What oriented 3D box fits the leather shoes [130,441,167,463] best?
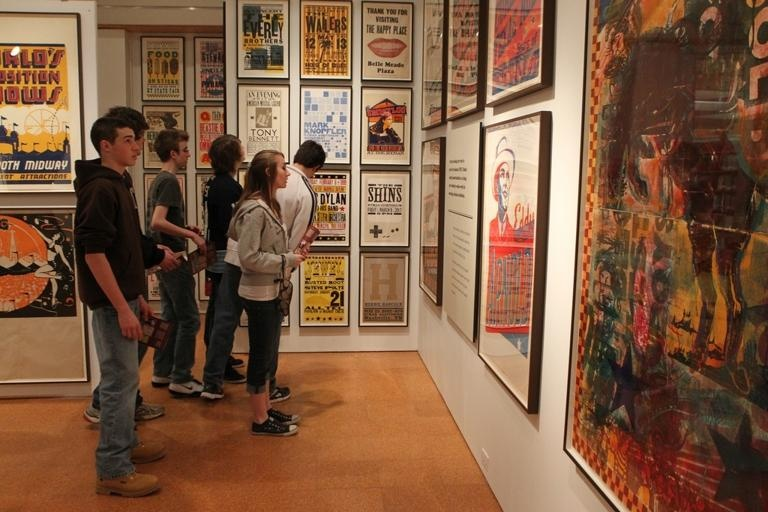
[{"bbox_3d":[-1.522,1.272,3.846,0.200,0.099,0.100,-5,19,-18],"label":"leather shoes"}]

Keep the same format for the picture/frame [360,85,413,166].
[{"bbox_3d":[0.010,-1.272,5.633,0.664,1.064,0.021,0,10,-3],"label":"picture/frame"}]

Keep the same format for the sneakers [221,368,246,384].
[{"bbox_3d":[-1.283,1.029,5.125,0.216,0.170,0.086,3,7,-8],"label":"sneakers"}]

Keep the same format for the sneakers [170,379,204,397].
[{"bbox_3d":[-1.582,1.044,4.840,0.297,0.148,0.122,-1,9,-28],"label":"sneakers"}]

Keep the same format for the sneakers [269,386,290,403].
[{"bbox_3d":[-0.833,1.101,4.760,0.071,0.076,0.178,10,12,28],"label":"sneakers"}]

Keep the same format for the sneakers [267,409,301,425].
[{"bbox_3d":[-0.729,1.168,4.360,0.260,0.114,0.096,8,4,-9],"label":"sneakers"}]

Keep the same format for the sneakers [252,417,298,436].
[{"bbox_3d":[-0.761,1.208,4.208,0.327,0.146,0.133,0,3,-9],"label":"sneakers"}]

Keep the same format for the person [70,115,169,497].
[{"bbox_3d":[-1.581,0.293,3.541,0.398,2.188,0.583,-5,12,-26],"label":"person"}]

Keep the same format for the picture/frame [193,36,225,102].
[{"bbox_3d":[-2.006,-2.134,6.797,0.306,0.701,0.115,1,11,5],"label":"picture/frame"}]

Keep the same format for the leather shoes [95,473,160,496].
[{"bbox_3d":[-1.524,1.329,3.579,0.331,0.176,0.150,1,8,-6],"label":"leather shoes"}]

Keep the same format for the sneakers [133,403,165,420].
[{"bbox_3d":[-1.737,1.161,4.403,0.206,0.101,0.081,-5,15,-34],"label":"sneakers"}]

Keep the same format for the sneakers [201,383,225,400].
[{"bbox_3d":[-1.357,1.077,4.737,0.082,0.107,0.221,3,4,7],"label":"sneakers"}]

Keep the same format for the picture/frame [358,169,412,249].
[{"bbox_3d":[-0.002,-0.489,5.721,0.666,1.060,0.044,1,11,0],"label":"picture/frame"}]

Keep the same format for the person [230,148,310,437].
[{"bbox_3d":[-0.760,0.293,4.014,0.501,1.968,0.406,-6,13,-33],"label":"person"}]

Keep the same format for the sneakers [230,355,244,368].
[{"bbox_3d":[-1.335,0.944,5.337,0.066,0.077,0.186,11,10,31],"label":"sneakers"}]

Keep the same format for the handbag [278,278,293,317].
[{"bbox_3d":[-0.660,0.289,3.956,0.103,0.218,0.049,3,-2,-22],"label":"handbag"}]
